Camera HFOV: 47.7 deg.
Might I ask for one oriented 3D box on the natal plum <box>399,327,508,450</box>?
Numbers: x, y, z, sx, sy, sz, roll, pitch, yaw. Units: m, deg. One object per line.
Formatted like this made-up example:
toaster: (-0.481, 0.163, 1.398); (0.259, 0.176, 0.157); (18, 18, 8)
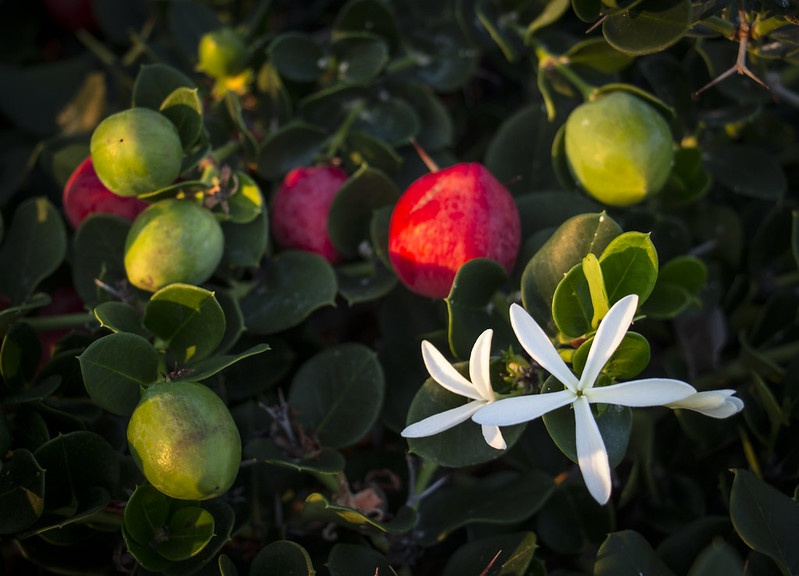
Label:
natal plum: (0.054, 0.106, 1.013); (0.094, 0.140, 0.109); (17, 25, 28)

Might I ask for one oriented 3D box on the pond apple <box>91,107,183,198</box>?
pond apple: (-0.294, -0.154, 1.022); (0.084, 0.102, 0.091); (-8, 22, -14)

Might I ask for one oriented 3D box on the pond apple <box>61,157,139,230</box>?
pond apple: (-0.376, -0.118, 1.191); (0.094, 0.087, 0.077); (10, -23, 31)
